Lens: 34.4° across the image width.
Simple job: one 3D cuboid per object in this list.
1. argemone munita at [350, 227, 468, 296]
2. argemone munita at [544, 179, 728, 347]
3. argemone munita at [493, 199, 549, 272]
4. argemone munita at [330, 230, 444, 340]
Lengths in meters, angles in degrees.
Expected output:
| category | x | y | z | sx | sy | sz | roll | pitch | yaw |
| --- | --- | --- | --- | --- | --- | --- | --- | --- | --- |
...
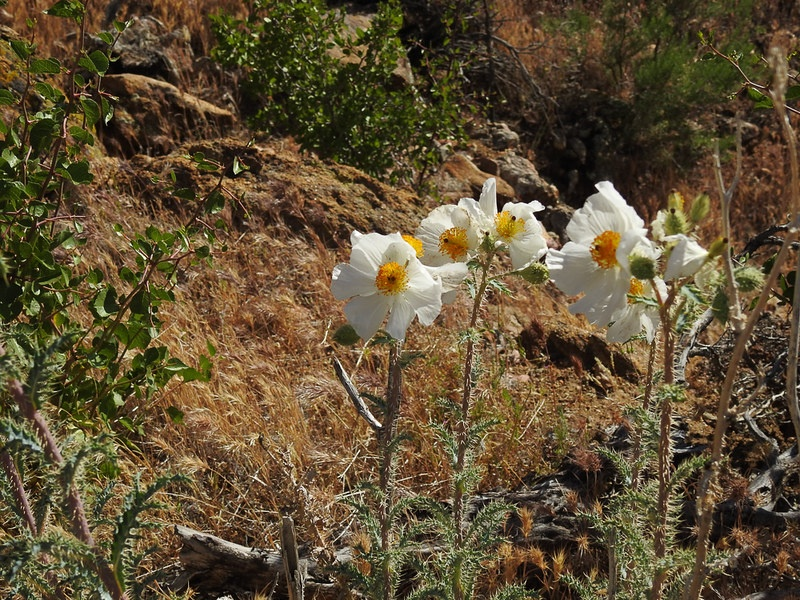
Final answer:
| category | x | y | z | sx | sy | sz | roll | pitch | yaw |
| --- | --- | --- | --- | --- | --- | --- | --- | --- | --- |
| argemone munita | -0.098 | -0.238 | 7.844 | 0.594 | 0.240 | 0.576 | -9 | 2 | 36 |
| argemone munita | 1.337 | -0.235 | 7.764 | 0.908 | 0.955 | 0.460 | -4 | -7 | 14 |
| argemone munita | 0.755 | -0.399 | 8.097 | 0.314 | 0.442 | 0.216 | -2 | -7 | 4 |
| argemone munita | -0.059 | -0.212 | 8.189 | 0.857 | 0.327 | 0.822 | -26 | -8 | -24 |
